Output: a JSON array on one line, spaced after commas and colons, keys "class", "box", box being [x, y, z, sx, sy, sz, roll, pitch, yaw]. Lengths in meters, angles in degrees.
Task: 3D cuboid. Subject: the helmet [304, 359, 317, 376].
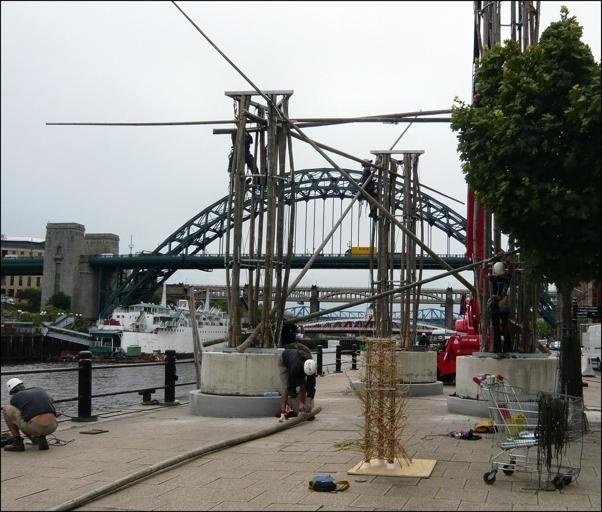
[{"class": "helmet", "box": [0.152, 1.707, 14.332, 0.168, 0.243, 0.248, 7, -46, 4]}]

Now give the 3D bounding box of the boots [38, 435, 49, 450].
[{"class": "boots", "box": [-3.519, 2.534, 12.445, 0.121, 0.159, 0.377, 2, -14, -16]}]

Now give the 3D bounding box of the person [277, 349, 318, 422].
[{"class": "person", "box": [-0.061, 2.053, 14.889, 0.580, 1.199, 1.479, 0, -6, 0]}]

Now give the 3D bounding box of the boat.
[{"class": "boat", "box": [-11.012, 5.733, 70.691, 5.232, 4.036, 12.188, -4, -7, 27]}]

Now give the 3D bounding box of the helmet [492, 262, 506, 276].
[{"class": "helmet", "box": [3.238, 0.213, 14.950, 0.202, 0.229, 0.249, 14, -3, 8]}]

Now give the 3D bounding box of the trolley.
[{"class": "trolley", "box": [2.881, 2.066, 11.159, 1.467, 1.679, 0.998, -2, -2, 22]}]

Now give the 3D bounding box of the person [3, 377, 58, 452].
[{"class": "person", "box": [-3.672, 2.211, 12.721, 0.948, 1.018, 0.584, 4, -3, 43]}]
